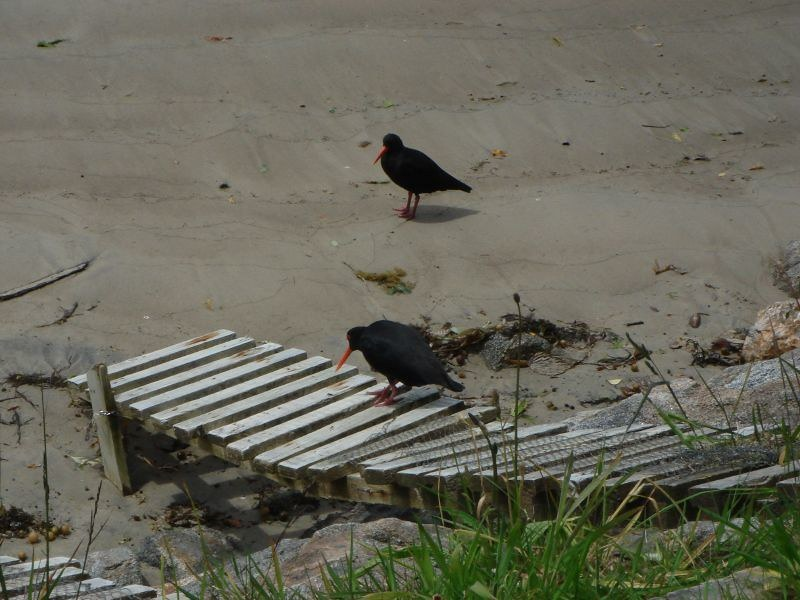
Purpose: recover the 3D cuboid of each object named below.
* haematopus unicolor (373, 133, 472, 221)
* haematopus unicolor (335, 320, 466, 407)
[{"bbox_3d":[0.686,-1.698,14.764,2.211,1.015,0.747,1,16,-1],"label":"haematopus unicolor"},{"bbox_3d":[0.018,0.556,10.558,1.575,0.566,0.656,3,24,25],"label":"haematopus unicolor"}]
